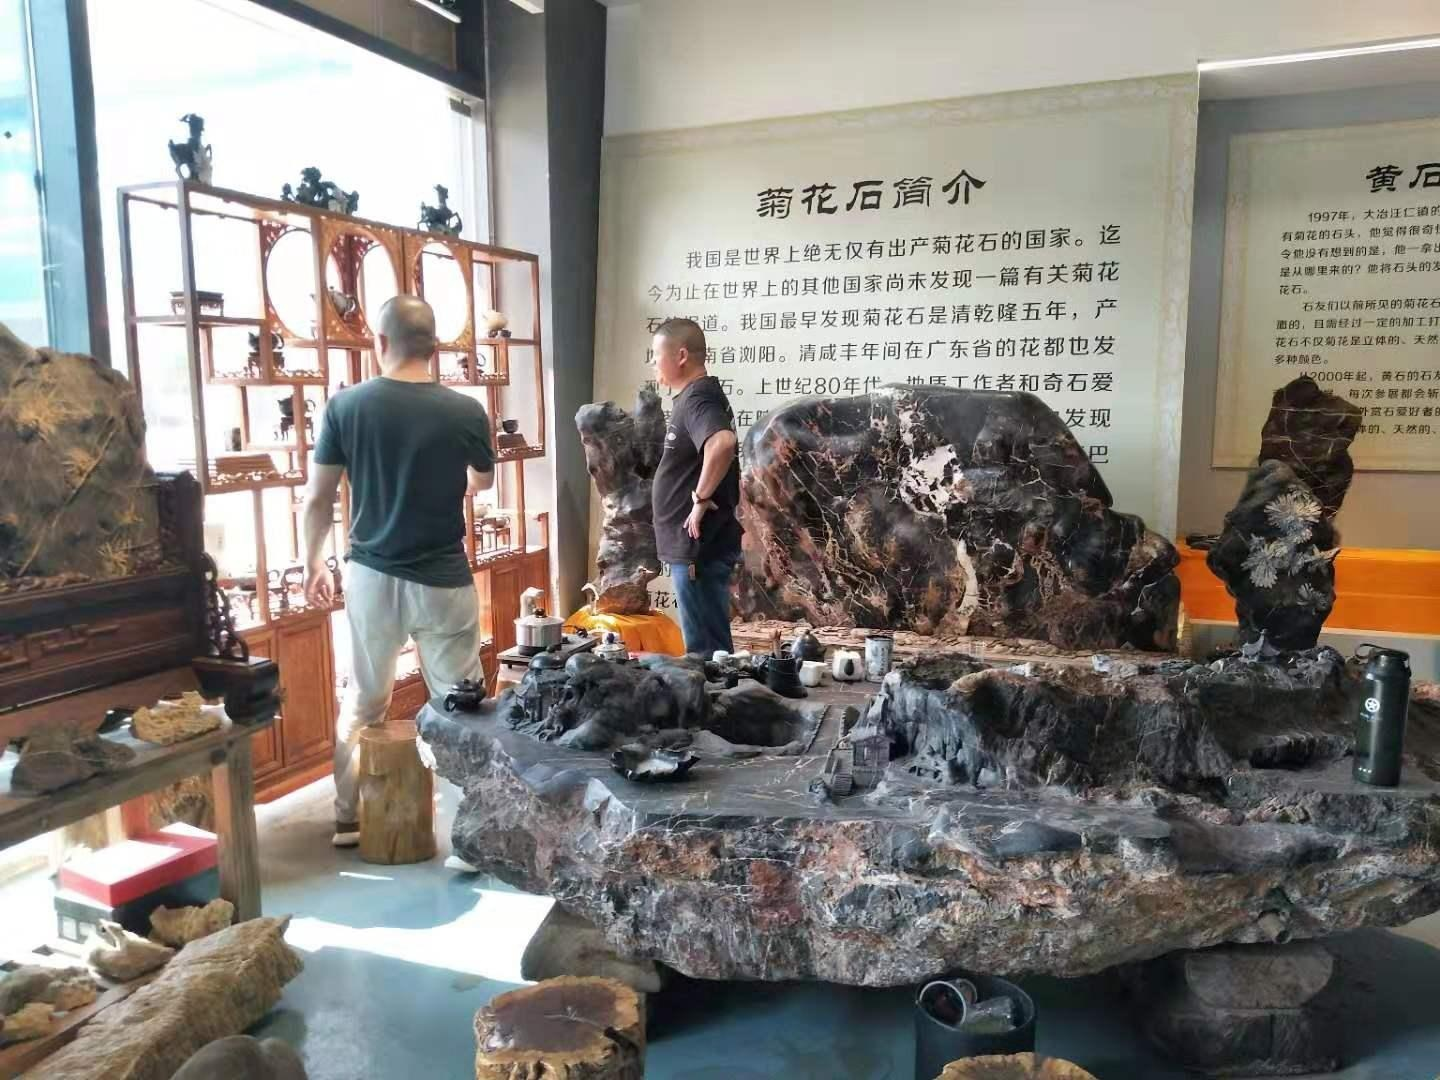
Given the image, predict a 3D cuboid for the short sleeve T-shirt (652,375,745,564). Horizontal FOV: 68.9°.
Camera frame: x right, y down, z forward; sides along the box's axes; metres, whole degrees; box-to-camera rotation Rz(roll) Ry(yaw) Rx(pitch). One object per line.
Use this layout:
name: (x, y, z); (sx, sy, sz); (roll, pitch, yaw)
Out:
short sleeve T-shirt: (-0.106, -0.303, 4.957); (0.464, 0.974, 0.934); (-3, 6, -4)

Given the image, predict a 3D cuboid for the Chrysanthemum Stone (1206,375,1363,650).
Chrysanthemum Stone: (2.832, -0.109, 5.355); (0.591, 1.394, 0.432); (-8, 40, 21)
